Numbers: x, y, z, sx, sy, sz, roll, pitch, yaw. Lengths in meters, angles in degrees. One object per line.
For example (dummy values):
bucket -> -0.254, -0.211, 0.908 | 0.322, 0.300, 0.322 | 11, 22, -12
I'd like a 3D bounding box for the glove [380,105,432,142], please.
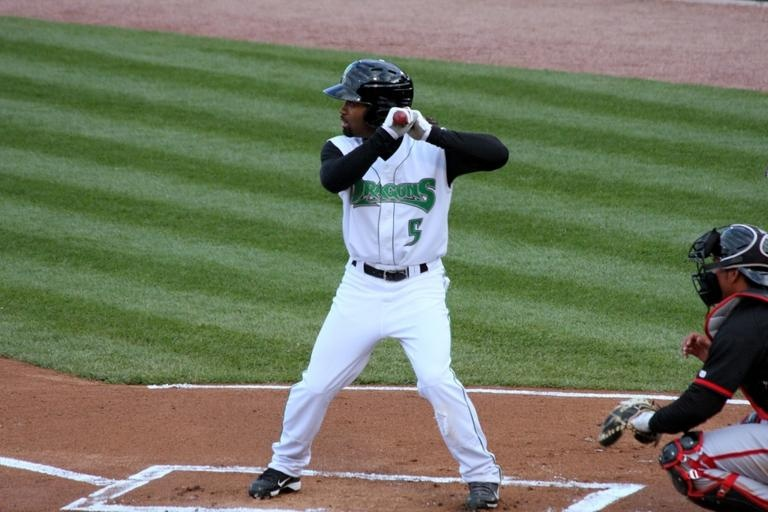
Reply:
glove -> 0.238, -1.510, 17.518 | 0.415, 0.209, 0.465 | 2, -9, 8
